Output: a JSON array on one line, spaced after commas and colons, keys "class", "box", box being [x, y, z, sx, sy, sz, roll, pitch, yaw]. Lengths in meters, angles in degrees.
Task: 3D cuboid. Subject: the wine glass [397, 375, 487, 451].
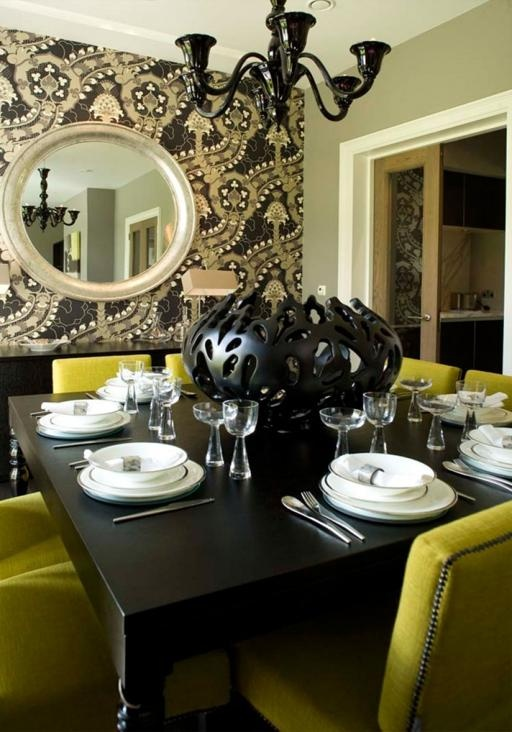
[{"class": "wine glass", "box": [0.494, 0.117, 1.488, 0.183, 0.143, 0.185, 0, 1, -5]}]

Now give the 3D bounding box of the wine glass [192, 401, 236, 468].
[{"class": "wine glass", "box": [-0.097, 0.163, 1.380, 0.125, 0.169, 0.127, 0, 2, 39]}]

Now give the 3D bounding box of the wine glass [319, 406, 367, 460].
[{"class": "wine glass", "box": [0.182, 0.144, 1.293, 0.120, 0.152, 0.121, 1, -2, -5]}]

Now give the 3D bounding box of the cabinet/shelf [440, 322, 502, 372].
[{"class": "cabinet/shelf", "box": [1.826, -0.180, 4.857, 0.416, 0.377, 0.219, -6, 11, -29]}]

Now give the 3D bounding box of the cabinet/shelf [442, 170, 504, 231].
[{"class": "cabinet/shelf", "box": [2.092, -1.605, 5.481, 1.079, 0.518, 0.129, -6, 9, -36]}]

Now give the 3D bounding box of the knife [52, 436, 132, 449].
[{"class": "knife", "box": [-0.424, 0.193, 1.446, 0.194, 0.019, 0.024, -5, 14, -19]}]
